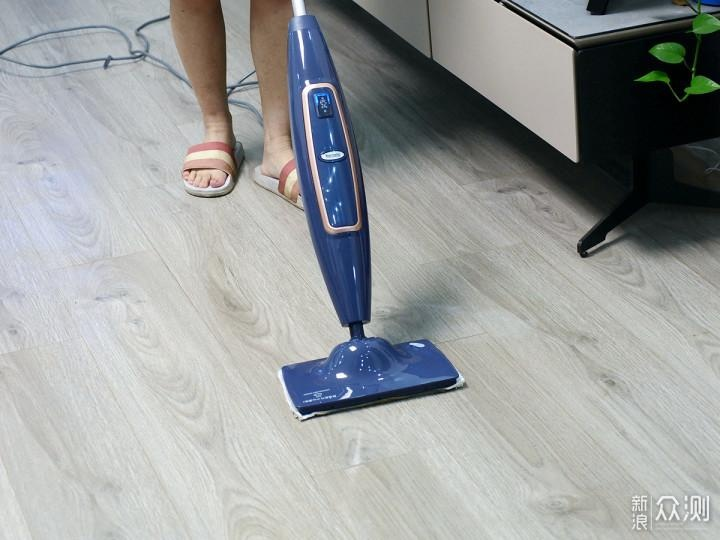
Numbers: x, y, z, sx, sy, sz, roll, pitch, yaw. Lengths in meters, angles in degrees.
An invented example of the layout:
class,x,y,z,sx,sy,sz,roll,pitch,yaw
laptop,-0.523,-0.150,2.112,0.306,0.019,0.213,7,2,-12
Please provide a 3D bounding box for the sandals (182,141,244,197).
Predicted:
class,x,y,z,sx,sy,sz,roll,pitch,yaw
sandals,-0.344,-0.247,1.445,0.124,0.078,0.200,-3,47,-2

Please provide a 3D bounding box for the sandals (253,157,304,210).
class,x,y,z,sx,sy,sz,roll,pitch,yaw
sandals,-0.169,-0.180,1.307,0.062,0.068,0.163,-27,51,-35
